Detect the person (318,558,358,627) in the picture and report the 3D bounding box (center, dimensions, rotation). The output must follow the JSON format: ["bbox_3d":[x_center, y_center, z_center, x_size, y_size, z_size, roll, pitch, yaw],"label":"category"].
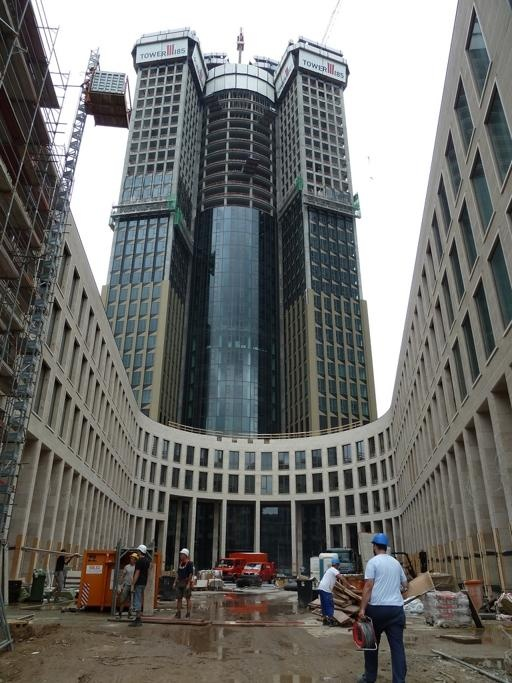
[{"bbox_3d":[2.325,7.407,11.762,0.842,1.656,2.258,-5,-27,11],"label":"person"}]

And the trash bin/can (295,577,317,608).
[{"bbox_3d":[2.446,11.924,18.816,0.864,1.169,1.613,-3,-27,6],"label":"trash bin/can"}]

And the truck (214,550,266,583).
[{"bbox_3d":[-2.370,29.453,53.117,3.828,4.668,7.285,-24,-37,36],"label":"truck"}]

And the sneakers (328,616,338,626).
[{"bbox_3d":[2.229,7.988,11.320,0.225,0.194,0.441,-1,-27,1],"label":"sneakers"}]

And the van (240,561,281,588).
[{"bbox_3d":[0.060,27.824,47.372,2.643,2.424,11.689,-5,-28,10],"label":"van"}]

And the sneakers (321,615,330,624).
[{"bbox_3d":[2.052,8.138,11.564,0.126,0.293,0.271,8,-28,-17],"label":"sneakers"}]

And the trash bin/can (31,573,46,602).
[{"bbox_3d":[-8.875,9.952,16.027,0.697,1.075,0.416,-13,-27,26],"label":"trash bin/can"}]
